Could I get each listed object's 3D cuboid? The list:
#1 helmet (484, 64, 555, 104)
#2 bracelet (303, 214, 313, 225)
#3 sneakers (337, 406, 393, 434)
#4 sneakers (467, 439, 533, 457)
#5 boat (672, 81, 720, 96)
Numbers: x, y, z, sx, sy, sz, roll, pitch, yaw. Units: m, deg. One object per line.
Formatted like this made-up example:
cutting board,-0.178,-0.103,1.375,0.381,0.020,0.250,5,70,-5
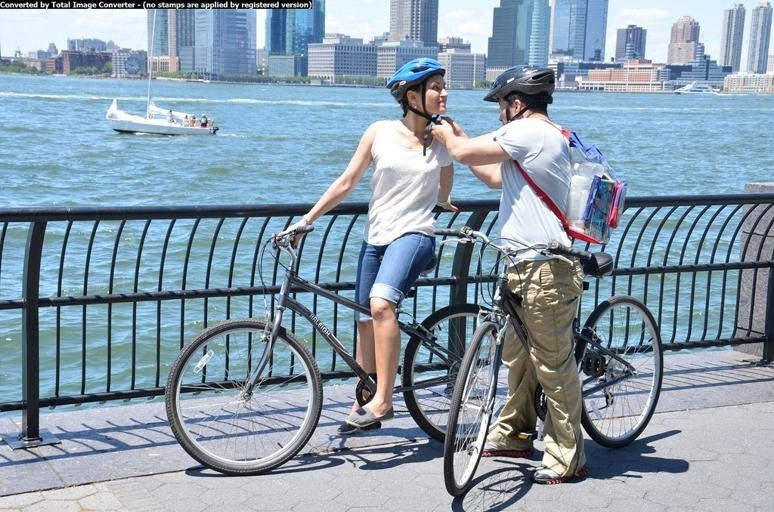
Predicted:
helmet,1.079,-1.390,8.344,0.513,0.177,0.332,6,10,22
bracelet,-0.665,-0.307,8.651,0.071,0.078,0.093,-15,45,29
sneakers,-0.148,1.359,8.639,0.487,0.118,0.210,-4,-1,-30
sneakers,0.979,1.640,8.711,0.427,0.081,0.230,0,-1,-13
boat,92.444,-49.844,307.340,11.680,3.866,31.112,3,9,18
